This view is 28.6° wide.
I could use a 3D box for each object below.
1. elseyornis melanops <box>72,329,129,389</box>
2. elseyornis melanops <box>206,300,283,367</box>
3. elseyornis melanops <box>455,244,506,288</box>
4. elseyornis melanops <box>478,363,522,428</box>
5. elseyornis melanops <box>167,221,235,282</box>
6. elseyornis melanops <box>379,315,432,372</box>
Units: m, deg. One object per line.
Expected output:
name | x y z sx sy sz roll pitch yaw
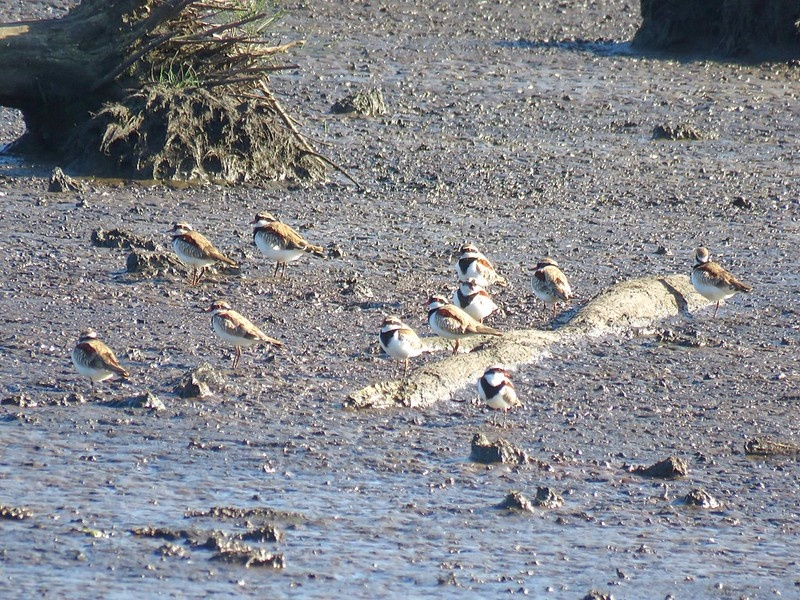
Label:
elseyornis melanops | -3.882 0.757 20.094 0.487 0.685 0.885 -18 30 -40
elseyornis melanops | -2.095 0.469 21.036 1.130 0.843 0.470 8 4 8
elseyornis melanops | 1.233 -0.477 23.867 1.038 0.767 0.598 -3 6 -44
elseyornis melanops | 1.232 1.232 20.363 0.505 0.772 0.973 4 -1 12
elseyornis melanops | -2.874 -0.693 23.033 1.140 0.882 0.520 6 3 22
elseyornis melanops | 0.014 0.582 21.161 0.611 0.600 0.363 6 26 -1
